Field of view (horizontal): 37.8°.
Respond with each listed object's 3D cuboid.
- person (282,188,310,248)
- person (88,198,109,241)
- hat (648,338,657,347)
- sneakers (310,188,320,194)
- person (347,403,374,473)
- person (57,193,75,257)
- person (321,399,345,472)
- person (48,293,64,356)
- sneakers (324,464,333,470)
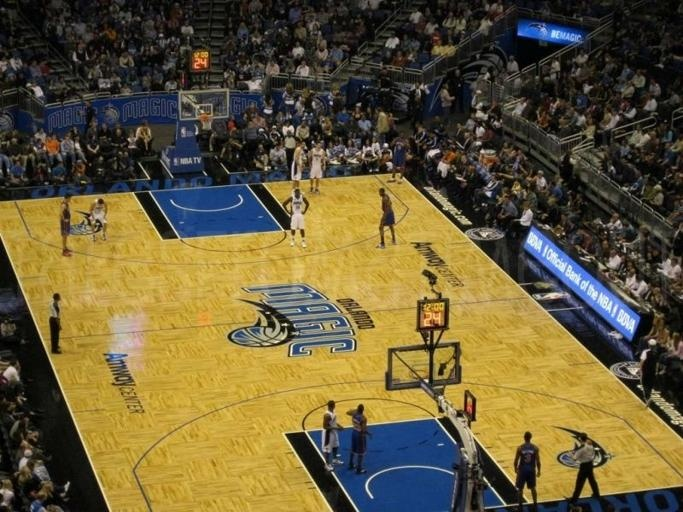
[{"bbox_3d":[-1.610,-1.570,37.018,0.868,2.617,1.572,4,32,-2],"label":"person"},{"bbox_3d":[-9.038,-1.524,37.253,0.631,1.697,1.066,-4,34,-15],"label":"person"},{"bbox_3d":[9.297,2.598,29.939,0.254,0.134,0.262,-8,26,-13],"label":"hat"},{"bbox_3d":[-1.066,-2.732,41.369,0.352,0.250,0.125,15,50,10],"label":"sneakers"},{"bbox_3d":[0.465,4.542,26.118,0.588,2.135,1.321,7,32,3],"label":"person"},{"bbox_3d":[-10.139,-1.076,36.798,0.702,3.057,0.914,-4,36,-18],"label":"person"},{"bbox_3d":[-0.194,4.635,26.212,0.583,1.941,1.231,6,32,0],"label":"person"},{"bbox_3d":[-8.804,2.193,30.823,0.465,2.144,0.732,-10,36,-19],"label":"person"},{"bbox_3d":[-0.302,5.562,26.142,0.207,0.206,0.127,0,33,-11],"label":"sneakers"}]
